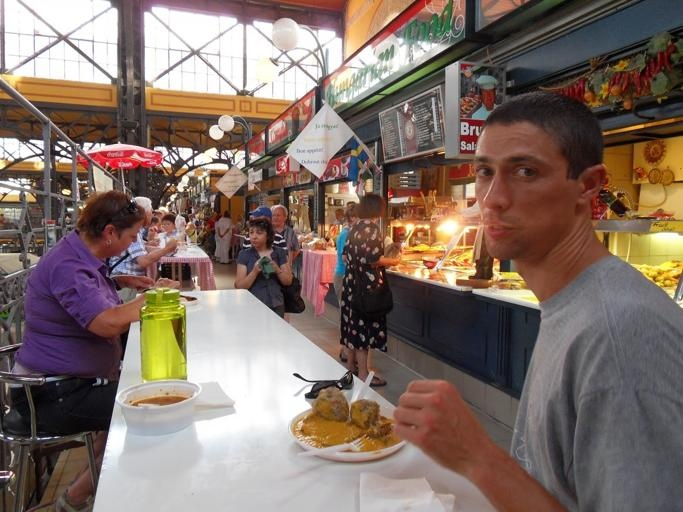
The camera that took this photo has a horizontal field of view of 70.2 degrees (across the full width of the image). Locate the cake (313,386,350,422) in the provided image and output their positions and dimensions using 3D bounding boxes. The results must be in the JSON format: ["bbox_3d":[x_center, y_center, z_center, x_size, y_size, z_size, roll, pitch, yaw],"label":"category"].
[{"bbox_3d":[-0.032,0.480,1.542,0.106,0.086,0.037,8,9,-4],"label":"cake"}]

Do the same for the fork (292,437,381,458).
[{"bbox_3d":[-0.016,0.561,1.423,0.173,0.033,0.024,-6,9,-19],"label":"fork"}]

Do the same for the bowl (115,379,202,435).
[{"bbox_3d":[-0.588,0.485,1.568,0.224,0.088,0.239,2,4,0],"label":"bowl"}]

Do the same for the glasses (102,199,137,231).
[{"bbox_3d":[-1.145,-0.214,2.548,0.140,0.045,0.146,-10,29,11],"label":"glasses"}]

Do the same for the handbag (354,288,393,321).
[{"bbox_3d":[0.283,0.443,4.550,0.262,0.278,0.143,-8,0,-16],"label":"handbag"}]

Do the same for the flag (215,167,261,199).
[{"bbox_3d":[-2.440,-1.770,11.728,0.840,0.725,1.664,1,7,-3],"label":"flag"}]

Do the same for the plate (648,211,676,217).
[{"bbox_3d":[2.705,-0.359,4.120,0.112,0.013,0.101,-20,25,-35],"label":"plate"}]
